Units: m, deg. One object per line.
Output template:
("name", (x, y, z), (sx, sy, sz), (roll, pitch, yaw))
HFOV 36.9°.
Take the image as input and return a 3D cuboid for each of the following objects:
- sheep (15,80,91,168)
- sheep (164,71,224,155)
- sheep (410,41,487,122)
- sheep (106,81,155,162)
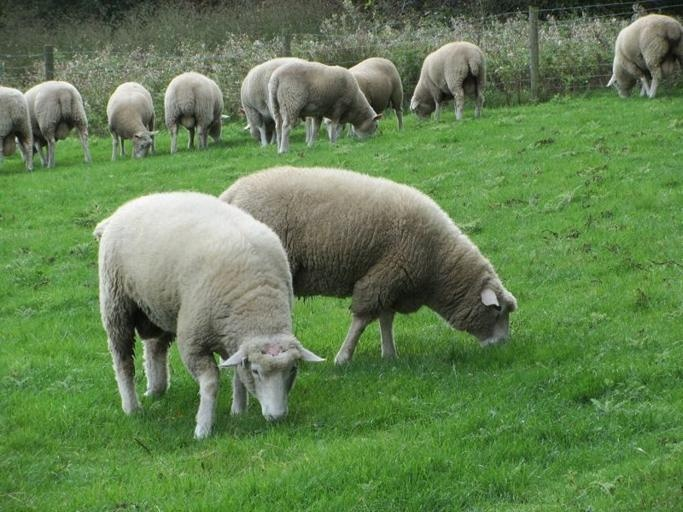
("sheep", (-7.866, -3.533, 27.345), (1.326, 2.320, 3.002), (-13, 10, -38))
("sheep", (-4.100, -3.946, 27.685), (1.667, 2.053, 3.415), (-1, 9, 12))
("sheep", (2.842, -4.769, 27.761), (1.345, 1.975, 4.007), (-4, 9, -7))
("sheep", (-5.624, -3.631, 27.300), (1.171, 1.918, 2.650), (-5, 9, -12))
